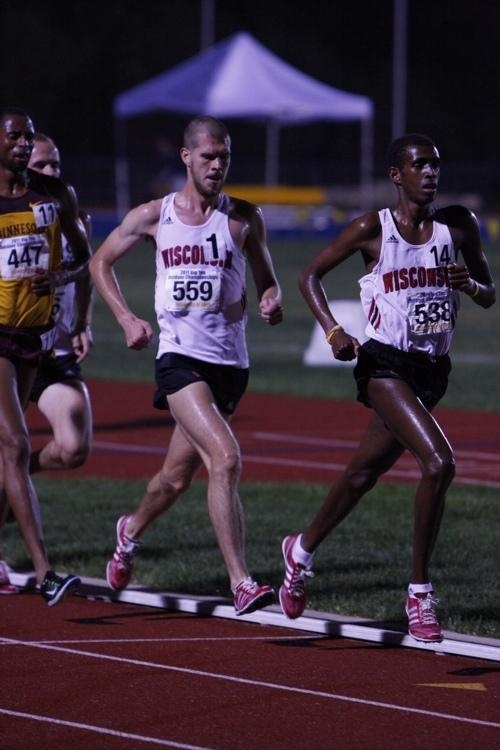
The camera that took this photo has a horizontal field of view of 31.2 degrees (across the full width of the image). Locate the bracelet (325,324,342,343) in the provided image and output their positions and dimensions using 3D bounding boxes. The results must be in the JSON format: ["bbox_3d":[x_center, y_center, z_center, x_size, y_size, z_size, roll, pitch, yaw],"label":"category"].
[{"bbox_3d":[0.289,-0.151,3.179,0.029,0.065,0.063,38,23,14],"label":"bracelet"}]

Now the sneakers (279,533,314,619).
[{"bbox_3d":[0.160,0.778,3.514,0.122,0.320,0.137,18,-40,-29],"label":"sneakers"}]

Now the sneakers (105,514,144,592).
[{"bbox_3d":[-0.516,0.755,3.928,0.128,0.345,0.159,25,-38,-33],"label":"sneakers"}]

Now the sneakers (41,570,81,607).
[{"bbox_3d":[-0.723,0.795,3.338,0.148,0.089,0.099,0,0,2],"label":"sneakers"}]

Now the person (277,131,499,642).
[{"bbox_3d":[0.484,0.034,3.279,0.734,1.576,0.541,1,0,18],"label":"person"}]

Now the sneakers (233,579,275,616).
[{"bbox_3d":[0.012,0.765,3.096,0.078,0.092,0.199,-14,-12,-40],"label":"sneakers"}]

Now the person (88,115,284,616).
[{"bbox_3d":[-0.179,-0.074,3.447,0.946,1.449,0.550,1,0,33],"label":"person"}]

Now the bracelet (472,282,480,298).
[{"bbox_3d":[0.804,-0.305,3.212,0.043,0.049,0.046,-1,-10,10],"label":"bracelet"}]

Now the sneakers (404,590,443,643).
[{"bbox_3d":[0.598,0.838,3.129,0.093,0.090,0.226,-1,2,-3],"label":"sneakers"}]
